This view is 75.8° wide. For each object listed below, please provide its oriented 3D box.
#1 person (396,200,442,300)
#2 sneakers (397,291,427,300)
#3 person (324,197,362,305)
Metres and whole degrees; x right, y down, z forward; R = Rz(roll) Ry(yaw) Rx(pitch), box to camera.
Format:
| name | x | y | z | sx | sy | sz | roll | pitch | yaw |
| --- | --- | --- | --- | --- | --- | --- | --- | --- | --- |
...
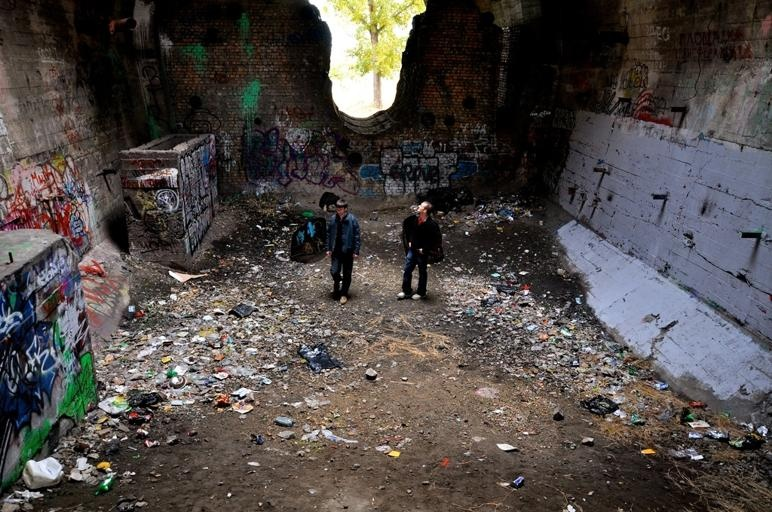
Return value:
| name | x | y | z | sx | sy | sz | roll | pitch | yaw |
| --- | --- | --- | --- | --- | --- | --- | --- | --- | --- |
| person | 0.744 | -0.116 | 10.251 | 0.863 | 2.051 | 0.555 | 3 | 24 | 2 |
| sneakers | 0.581 | 0.827 | 10.536 | 0.635 | 0.233 | 0.199 | 0 | 11 | 2 |
| person | -0.868 | -0.133 | 10.180 | 0.649 | 2.096 | 0.891 | -1 | 24 | -6 |
